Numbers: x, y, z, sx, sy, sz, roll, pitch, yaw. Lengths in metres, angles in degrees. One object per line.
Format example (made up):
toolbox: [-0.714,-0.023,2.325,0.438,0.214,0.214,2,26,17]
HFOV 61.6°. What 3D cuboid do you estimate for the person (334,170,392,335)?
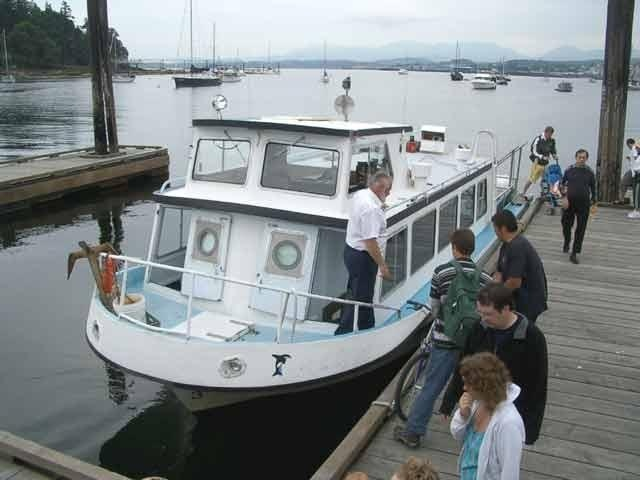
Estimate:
person: [0.526,0.201,6.580,0.653,2.035,0.530,4,14,21]

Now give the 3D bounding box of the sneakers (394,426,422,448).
sneakers: [0.920,2.087,5.751,0.313,0.159,0.148,31,14,15]

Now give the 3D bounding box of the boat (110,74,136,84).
boat: [-37.723,-30.900,102.836,3.611,2.157,8.693,-5,15,-16]

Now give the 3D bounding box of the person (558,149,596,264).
person: [4.803,-0.642,10.003,0.620,2.076,0.988,5,15,27]

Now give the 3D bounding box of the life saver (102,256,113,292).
life saver: [-2.737,0.437,6.893,0.151,0.450,0.164,-6,14,-21]

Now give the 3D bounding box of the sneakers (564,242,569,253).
sneakers: [4.815,0.150,10.444,0.136,0.216,0.071,4,-3,20]

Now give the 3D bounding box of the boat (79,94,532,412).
boat: [0.403,-0.432,8.531,3.049,2.934,7.272,10,24,26]

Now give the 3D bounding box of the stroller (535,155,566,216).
stroller: [5.637,-1.298,12.989,0.636,1.737,1.354,7,22,23]
